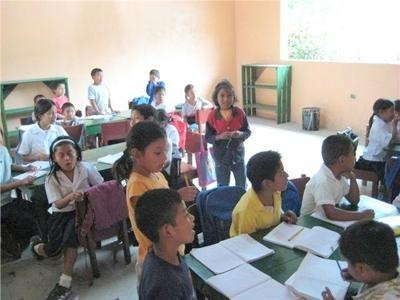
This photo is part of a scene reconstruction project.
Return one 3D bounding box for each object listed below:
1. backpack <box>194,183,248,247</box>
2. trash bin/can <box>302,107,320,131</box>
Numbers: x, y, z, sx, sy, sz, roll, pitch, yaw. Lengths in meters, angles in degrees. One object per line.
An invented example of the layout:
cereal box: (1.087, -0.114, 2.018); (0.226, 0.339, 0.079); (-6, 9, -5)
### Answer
backpack: (0.144, 0.436, 2.578); (0.377, 0.454, 0.397); (-14, 17, -33)
trash bin/can: (2.599, -0.718, 7.638); (0.408, 0.483, 0.420); (4, 13, 36)
